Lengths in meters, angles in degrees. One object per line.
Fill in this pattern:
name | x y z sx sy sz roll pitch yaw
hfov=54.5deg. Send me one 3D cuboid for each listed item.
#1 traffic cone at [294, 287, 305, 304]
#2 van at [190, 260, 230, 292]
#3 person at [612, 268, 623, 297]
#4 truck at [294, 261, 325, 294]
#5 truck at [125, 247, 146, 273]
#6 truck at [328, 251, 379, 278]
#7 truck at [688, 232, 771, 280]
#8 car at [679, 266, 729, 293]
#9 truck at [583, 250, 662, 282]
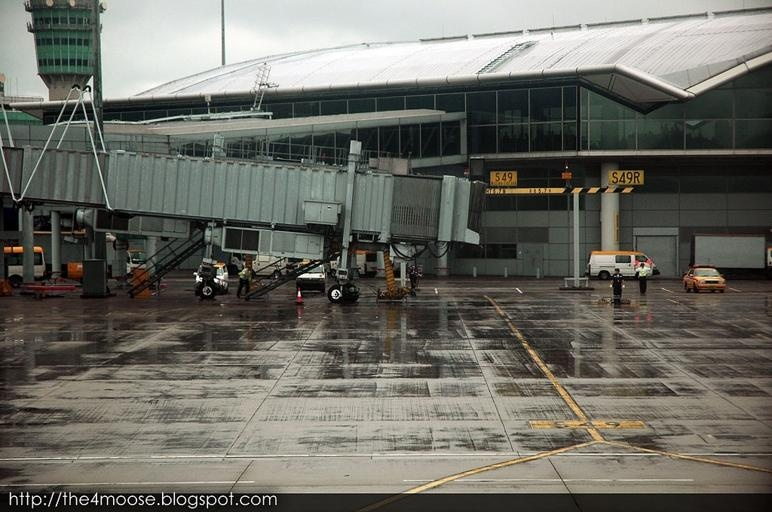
traffic cone | -5.348 2.513 46.335 0.901 0.908 0.844 -2 4 14
van | -11.758 1.502 50.376 2.011 1.681 3.369 4 5 -6
person | 13.311 1.669 43.149 0.452 1.741 1.480 2 8 14
truck | -5.068 1.735 50.401 1.621 1.300 2.857 -1 -1 1
truck | -22.216 0.513 66.268 2.209 1.665 3.088 2 8 0
truck | -3.121 0.829 67.077 4.190 2.192 2.421 2 4 5
truck | 28.480 0.005 64.207 6.599 3.204 3.843 -2 0 7
car | 21.193 1.784 50.096 2.192 1.523 2.659 2 8 14
truck | 20.193 1.049 64.302 6.301 2.193 3.054 0 2 11
